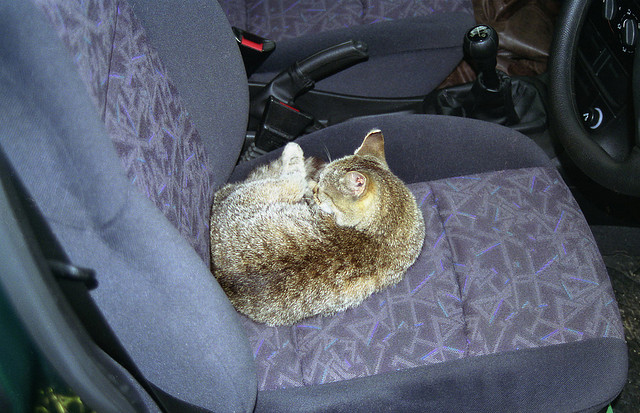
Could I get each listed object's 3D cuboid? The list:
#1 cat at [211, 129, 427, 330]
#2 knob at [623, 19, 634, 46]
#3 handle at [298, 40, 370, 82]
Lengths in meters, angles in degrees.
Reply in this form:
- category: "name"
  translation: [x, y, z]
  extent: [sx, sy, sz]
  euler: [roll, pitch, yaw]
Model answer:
- category: "cat"
  translation: [-0.009, 0.121, 2.403]
  extent: [0.743, 0.353, 0.842]
  euler: [-16, 65, -10]
- category: "knob"
  translation: [1.186, -0.671, 2.218]
  extent: [0.037, 0.016, 0.086]
  euler: [1, 88, 28]
- category: "handle"
  translation: [0.058, -0.696, 2.774]
  extent: [0.330, 0.202, 0.075]
  euler: [-7, 59, -5]
